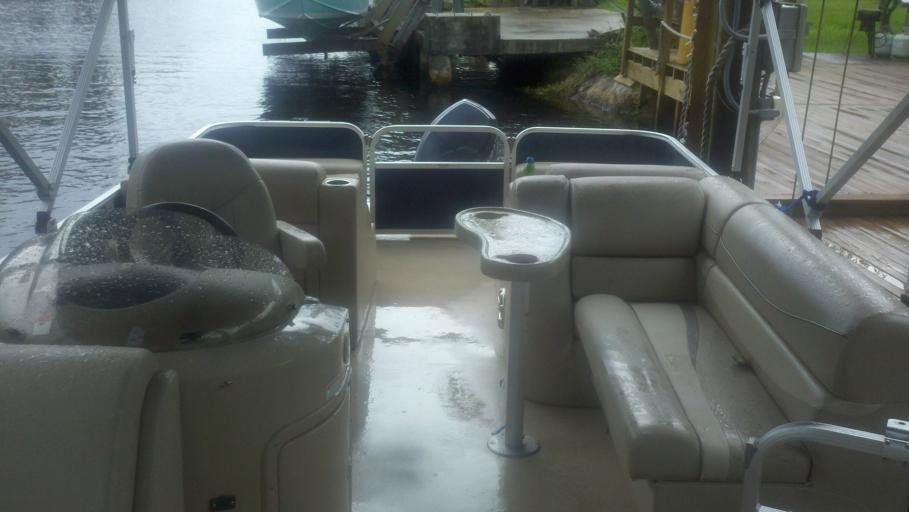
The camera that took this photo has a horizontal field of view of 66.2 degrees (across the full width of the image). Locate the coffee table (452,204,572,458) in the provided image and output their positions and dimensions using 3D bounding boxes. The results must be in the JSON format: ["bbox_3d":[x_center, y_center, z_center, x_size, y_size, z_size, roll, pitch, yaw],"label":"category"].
[{"bbox_3d":[0.332,0.432,3.606,0.668,1.120,0.986,-6,24,-15],"label":"coffee table"}]
